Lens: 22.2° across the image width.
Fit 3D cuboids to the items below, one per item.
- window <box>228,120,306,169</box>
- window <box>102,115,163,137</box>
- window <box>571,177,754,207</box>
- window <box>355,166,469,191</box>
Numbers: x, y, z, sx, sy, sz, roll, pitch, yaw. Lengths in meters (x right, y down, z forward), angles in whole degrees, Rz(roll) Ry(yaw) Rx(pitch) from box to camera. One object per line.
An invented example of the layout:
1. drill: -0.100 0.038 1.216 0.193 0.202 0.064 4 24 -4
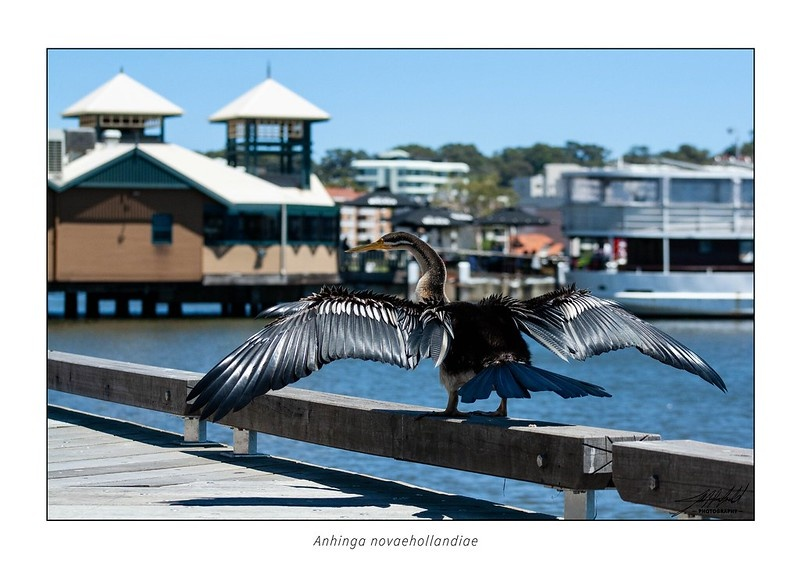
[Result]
1. window: -2.795 -3.048 42.880 1.424 0.867 1.316 -1 2 -10
2. window: -5.818 -3.376 44.040 1.392 0.509 1.183 -1 0 -7
3. window: 8.408 -3.039 66.278 5.619 0.961 0.848 -1 1 6
4. window: 1.187 -7.344 141.932 6.807 2.104 5.473 0 0 -33
